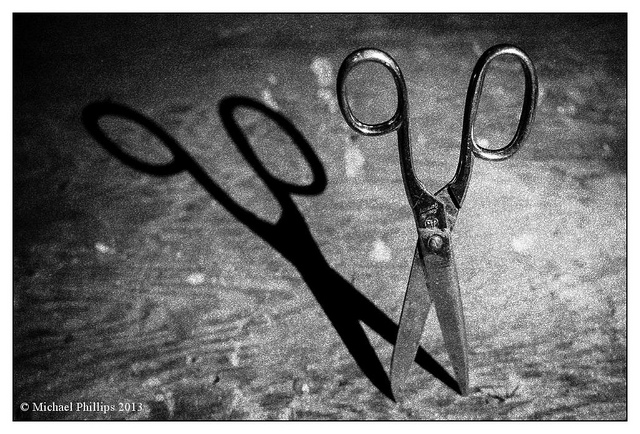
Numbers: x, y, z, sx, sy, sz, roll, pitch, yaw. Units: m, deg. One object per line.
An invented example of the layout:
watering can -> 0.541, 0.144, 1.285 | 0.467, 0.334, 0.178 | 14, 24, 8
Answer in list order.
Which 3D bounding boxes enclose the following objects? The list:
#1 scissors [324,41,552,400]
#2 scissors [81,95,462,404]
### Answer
scissors -> 0.187, -0.002, 0.944 | 0.344, 0.487, 0.235 | -3, 19, 0
scissors -> -0.042, 0.023, 0.994 | 0.268, 0.021, 0.814 | -32, 62, -27
